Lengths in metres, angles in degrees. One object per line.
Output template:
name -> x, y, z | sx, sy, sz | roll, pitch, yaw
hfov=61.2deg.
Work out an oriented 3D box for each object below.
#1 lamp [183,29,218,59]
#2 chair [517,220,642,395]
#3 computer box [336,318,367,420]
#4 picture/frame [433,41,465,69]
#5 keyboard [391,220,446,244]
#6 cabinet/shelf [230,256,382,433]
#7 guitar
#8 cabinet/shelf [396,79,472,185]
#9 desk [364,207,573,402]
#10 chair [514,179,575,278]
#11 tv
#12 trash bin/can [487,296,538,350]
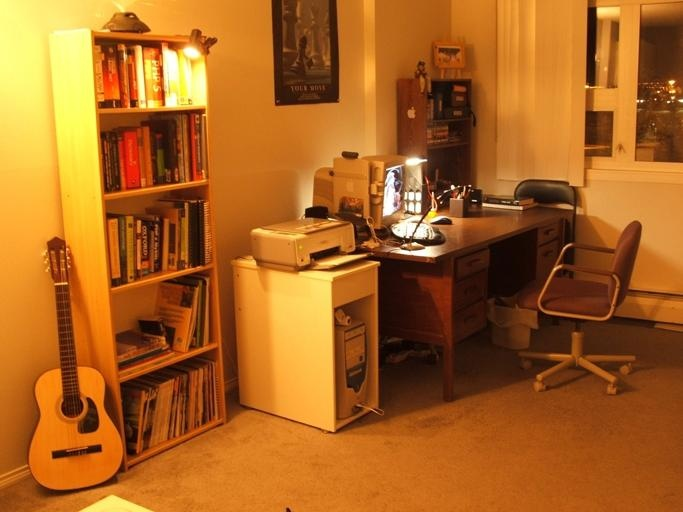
lamp -> -0.781, -1.165, 3.167 | 0.165, 0.145, 0.115 | -3, 17, -4
chair -> 1.655, 0.330, 4.018 | 0.894, 1.078, 0.874 | -8, 11, -21
computer box -> 0.055, 0.690, 3.513 | 0.211, 0.565, 0.179 | -4, 17, -7
picture/frame -> 0.956, -1.805, 5.168 | 0.249, 0.209, 0.027 | -3, 4, -23
keyboard -> 0.519, -0.160, 3.884 | 0.182, 0.058, 0.244 | 18, 18, 37
cabinet/shelf -> -0.302, 0.444, 3.859 | 1.074, 1.340, 0.800 | 5, 12, 28
guitar -> -1.428, 0.552, 2.907 | 0.416, 1.207, 0.395 | -13, 19, -31
cabinet/shelf -> 0.890, -1.114, 5.246 | 0.912, 0.975, 0.316 | -18, 23, -42
desk -> 0.925, 0.271, 4.259 | 0.574, 1.019, 1.724 | 12, 22, 40
chair -> 1.836, -0.391, 5.111 | 0.510, 0.861, 0.609 | 1, 8, 22
tv -> 0.131, -0.469, 4.195 | 0.570, 0.438, 0.582 | 5, 14, 20
trash bin/can -> 1.309, 0.497, 4.534 | 0.462, 0.421, 0.362 | 5, 9, 34
